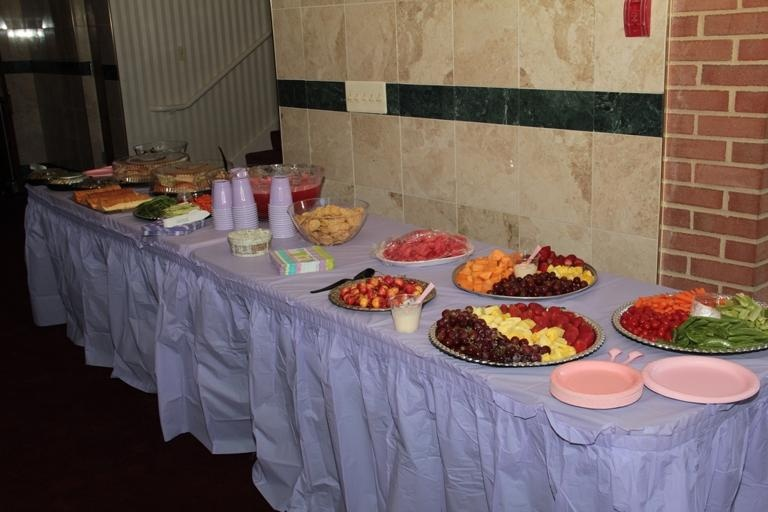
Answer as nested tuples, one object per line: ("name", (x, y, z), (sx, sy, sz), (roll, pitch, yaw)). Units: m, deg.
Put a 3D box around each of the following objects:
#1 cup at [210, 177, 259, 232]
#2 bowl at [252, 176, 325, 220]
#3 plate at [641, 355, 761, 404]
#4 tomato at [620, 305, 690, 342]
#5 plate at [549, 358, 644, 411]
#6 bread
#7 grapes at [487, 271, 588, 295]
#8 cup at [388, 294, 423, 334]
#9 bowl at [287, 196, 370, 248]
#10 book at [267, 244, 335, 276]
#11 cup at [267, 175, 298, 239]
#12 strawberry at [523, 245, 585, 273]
("cup", (-0.820, -0.294, 3.259), (0.313, 0.312, 0.196), (10, 23, 25))
("bowl", (-0.539, -0.381, 3.455), (0.367, 0.215, 0.418), (-14, 20, -37))
("plate", (0.958, 0.374, 1.829), (0.317, 0.058, 0.232), (2, 20, 14))
("tomato", (0.940, 0.238, 2.055), (0.214, 0.064, 0.263), (3, 13, -14))
("plate", (0.648, 0.393, 1.822), (0.265, 0.068, 0.190), (6, 21, 23))
("bread", (-1.425, -0.413, 3.710), (0.605, 0.151, 0.471), (13, 23, 31))
("grapes", (0.616, 0.110, 2.361), (0.381, 0.063, 0.121), (-3, 19, 0))
("cup", (0.076, 0.210, 2.166), (0.120, 0.120, 0.132), (-1, 4, 0))
("bowl", (-0.256, -0.232, 3.080), (0.384, 0.247, 0.323), (14, 22, 39))
("book", (-0.385, 0.024, 2.767), (0.303, 0.040, 0.240), (-10, 19, -26))
("cup", (-0.536, -0.249, 3.183), (0.137, 0.336, 0.121), (15, 27, 32))
("strawberry", (0.726, 0.018, 2.532), (0.157, 0.061, 0.143), (2, 7, -40))
